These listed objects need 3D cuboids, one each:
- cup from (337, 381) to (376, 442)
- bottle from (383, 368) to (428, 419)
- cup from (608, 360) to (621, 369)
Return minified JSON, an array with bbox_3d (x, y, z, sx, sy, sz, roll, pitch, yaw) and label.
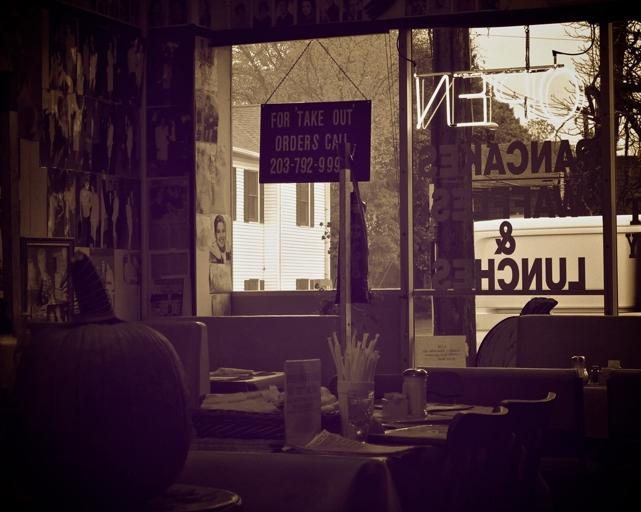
[{"bbox_3d":[0.123,0.535,2.589,0.140,0.251,0.146,1,-13,0],"label":"cup"},{"bbox_3d":[0.357,0.560,2.995,0.189,0.236,0.126,0,-4,13],"label":"bottle"},{"bbox_3d":[1.604,0.590,4.055,0.058,0.074,0.050,0,-7,2],"label":"cup"}]
